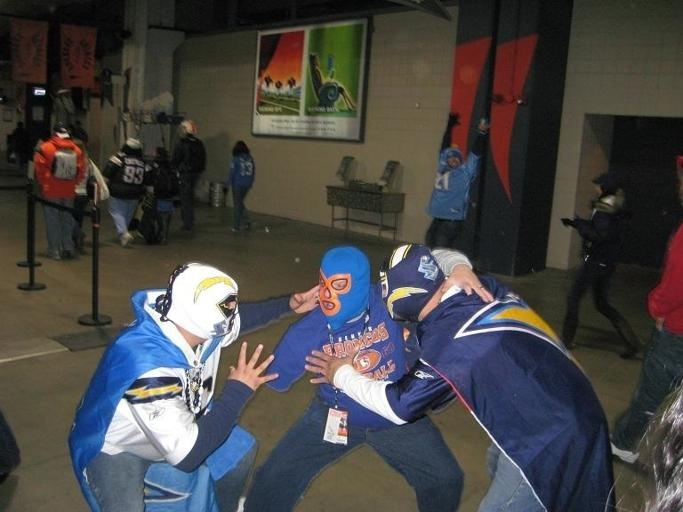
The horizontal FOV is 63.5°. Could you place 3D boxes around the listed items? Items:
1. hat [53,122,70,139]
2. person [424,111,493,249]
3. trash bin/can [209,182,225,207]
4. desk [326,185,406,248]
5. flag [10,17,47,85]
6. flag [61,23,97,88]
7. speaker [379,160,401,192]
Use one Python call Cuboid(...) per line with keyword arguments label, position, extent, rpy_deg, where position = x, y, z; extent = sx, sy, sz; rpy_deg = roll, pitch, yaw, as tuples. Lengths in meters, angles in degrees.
Cuboid(label="hat", position=(-4.636, -2.061, 9.117), extent=(0.260, 0.228, 0.512), rpy_deg=(-2, 13, -27))
Cuboid(label="person", position=(1.827, -1.110, 8.894), extent=(0.706, 2.027, 0.904), rpy_deg=(13, 15, 40))
Cuboid(label="trash bin/can", position=(-3.621, -1.784, 16.063), extent=(0.573, 0.686, 0.608), rpy_deg=(3, 8, 15))
Cuboid(label="desk", position=(0.472, -0.975, 12.598), extent=(0.647, 1.165, 1.778), rpy_deg=(-12, 18, -41))
Cuboid(label="flag", position=(-9.135, -5.988, 16.073), extent=(1.040, 1.758, 0.452), rpy_deg=(3, 11, -3))
Cuboid(label="flag", position=(-7.936, -6.019, 16.586), extent=(0.983, 1.775, 0.538), rpy_deg=(-2, 13, -26))
Cuboid(label="speaker", position=(1.085, -1.790, 12.258), extent=(0.453, 0.681, 0.381), rpy_deg=(0, 12, -17))
